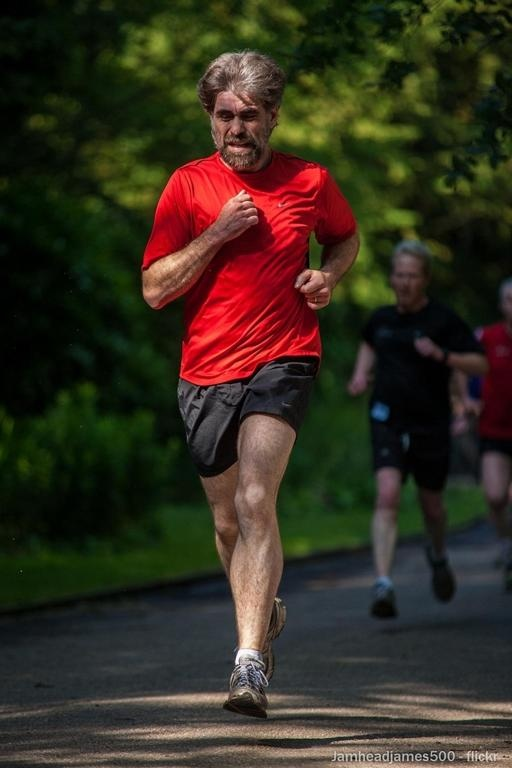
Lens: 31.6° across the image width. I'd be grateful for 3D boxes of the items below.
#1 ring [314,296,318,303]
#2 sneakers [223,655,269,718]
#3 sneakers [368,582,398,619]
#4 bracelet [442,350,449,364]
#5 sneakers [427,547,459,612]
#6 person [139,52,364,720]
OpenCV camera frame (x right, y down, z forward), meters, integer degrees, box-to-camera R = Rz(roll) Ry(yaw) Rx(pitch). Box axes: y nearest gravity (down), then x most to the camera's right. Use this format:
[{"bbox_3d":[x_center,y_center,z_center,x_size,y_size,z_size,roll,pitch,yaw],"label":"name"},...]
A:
[{"bbox_3d":[0.168,-0.239,2.535,0.007,0.012,0.021,-7,-3,-4],"label":"ring"},{"bbox_3d":[-0.026,0.719,2.111,0.109,0.101,0.165,-7,-3,-4],"label":"sneakers"},{"bbox_3d":[0.574,1.000,4.173,0.135,0.173,0.177,0,-43,2],"label":"sneakers"},{"bbox_3d":[0.857,-0.122,4.082,0.018,0.049,0.053,4,-29,-13],"label":"bracelet"},{"bbox_3d":[0.913,0.970,4.548,0.097,0.231,0.103,-24,-25,21],"label":"sneakers"},{"bbox_3d":[-0.004,-0.096,2.536,0.639,1.337,0.935,-8,-4,8],"label":"person"}]
